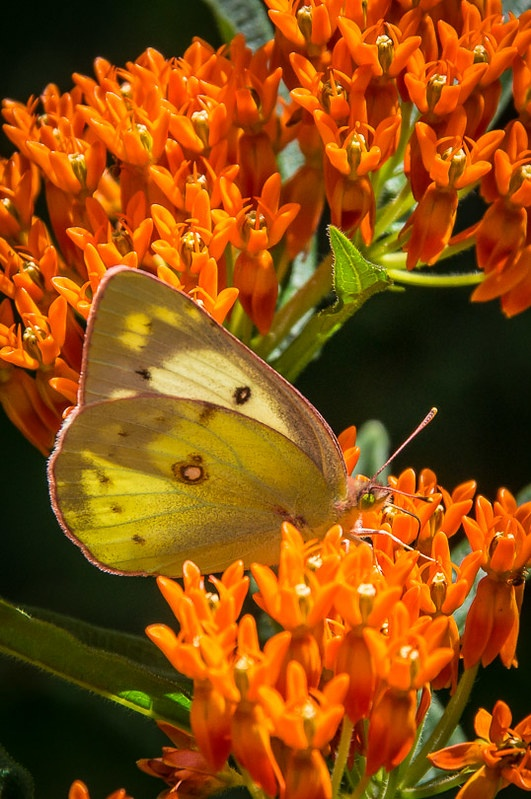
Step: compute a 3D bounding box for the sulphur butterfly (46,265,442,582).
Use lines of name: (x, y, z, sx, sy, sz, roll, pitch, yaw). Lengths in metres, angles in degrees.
sulphur butterfly: (0.013, 0.048, 1.099, 0.483, 0.307, 0.503, -12, -22, 30)
